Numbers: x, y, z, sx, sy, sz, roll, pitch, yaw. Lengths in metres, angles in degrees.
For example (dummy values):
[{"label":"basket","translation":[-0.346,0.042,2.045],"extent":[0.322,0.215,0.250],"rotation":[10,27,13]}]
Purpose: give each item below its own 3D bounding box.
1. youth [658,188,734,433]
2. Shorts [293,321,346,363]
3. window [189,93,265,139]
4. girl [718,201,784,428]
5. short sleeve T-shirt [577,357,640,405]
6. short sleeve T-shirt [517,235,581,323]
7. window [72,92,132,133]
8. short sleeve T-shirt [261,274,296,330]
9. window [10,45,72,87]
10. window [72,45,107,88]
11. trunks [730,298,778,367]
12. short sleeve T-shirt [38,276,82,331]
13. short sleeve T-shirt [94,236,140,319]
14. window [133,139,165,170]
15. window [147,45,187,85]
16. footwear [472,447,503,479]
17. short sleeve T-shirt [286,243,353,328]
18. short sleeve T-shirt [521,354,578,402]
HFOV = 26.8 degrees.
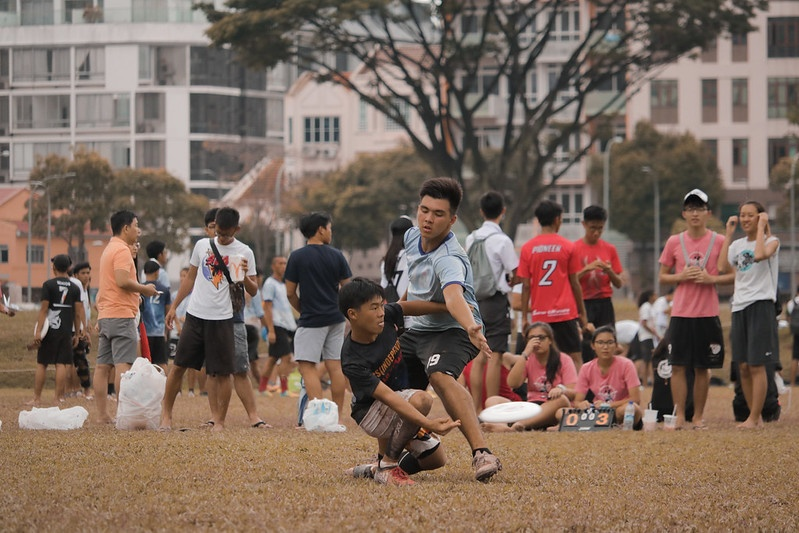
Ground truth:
[{"label":"youth","translation":[5.703,0.771,32.441],"extent":[1.360,4.556,1.190],"rotation":[2,-4,11]},{"label":"Shorts","translation":[-1.650,1.436,32.796],"extent":[1.183,1.133,0.688],"rotation":[1,2,-32]},{"label":"window","translation":[-4.357,-3.948,43.636],"extent":[2.082,1.083,0.214],"rotation":[2,-2,-35]},{"label":"girl","translation":[6.767,0.889,32.514],"extent":[0.966,4.413,1.163],"rotation":[8,-10,-35]},{"label":"short sleeve T-shirt","translation":[4.109,2.234,32.851],"extent":[1.333,1.042,0.717],"rotation":[-10,1,29]},{"label":"short sleeve T-shirt","translation":[2.947,0.259,32.966],"extent":[1.529,1.997,0.696],"rotation":[-1,4,15]},{"label":"window","translation":[-7.268,-3.773,41.098],"extent":[0.991,0.948,0.236],"rotation":[0,7,-24]},{"label":"short sleeve T-shirt","translation":[-2.653,0.782,37.221],"extent":[0.569,1.139,0.938],"rotation":[-4,2,20]},{"label":"window","translation":[-8.562,-4.769,40.037],"extent":[1.337,0.884,0.063],"rotation":[-2,-13,-10]},{"label":"window","translation":[-7.647,-4.838,40.736],"extent":[1.001,1.248,0.094],"rotation":[-2,-16,-3]},{"label":"trunks","translation":[6.829,1.238,32.239],"extent":[1.024,1.431,0.792],"rotation":[-5,-13,42]},{"label":"short sleeve T-shirt","translation":[-7.052,0.785,34.922],"extent":[1.024,1.371,0.473],"rotation":[2,2,-18]},{"label":"short sleeve T-shirt","translation":[-5.499,0.282,32.766],"extent":[0.838,1.567,1.354],"rotation":[1,-5,-28]},{"label":"window","translation":[-6.394,-2.881,42.457],"extent":[0.080,0.705,0.776],"rotation":[1,1,30]},{"label":"window","translation":[-5.784,-4.984,42.101],"extent":[0.966,1.004,0.924],"rotation":[-4,7,-26]},{"label":"footwear","translation":[1.507,3.440,29.307],"extent":[0.478,0.574,0.292],"rotation":[0,-3,3]},{"label":"short sleeve T-shirt","translation":[-1.580,0.391,32.450],"extent":[1.701,2.132,0.878],"rotation":[0,-1,0]},{"label":"short sleeve T-shirt","translation":[2.999,2.174,33.167],"extent":[1.318,1.116,0.789],"rotation":[-2,-4,21]}]
